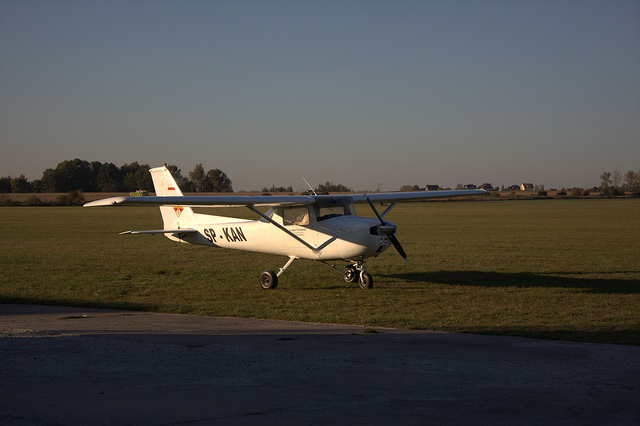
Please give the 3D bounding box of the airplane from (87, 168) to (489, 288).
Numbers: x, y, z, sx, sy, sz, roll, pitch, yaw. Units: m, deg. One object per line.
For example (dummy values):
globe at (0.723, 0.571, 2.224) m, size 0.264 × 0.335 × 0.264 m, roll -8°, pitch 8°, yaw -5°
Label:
airplane at (-1.546, 0.263, 24.785) m, size 8.937 × 3.175 × 10.213 m, roll -2°, pitch -1°, yaw -13°
